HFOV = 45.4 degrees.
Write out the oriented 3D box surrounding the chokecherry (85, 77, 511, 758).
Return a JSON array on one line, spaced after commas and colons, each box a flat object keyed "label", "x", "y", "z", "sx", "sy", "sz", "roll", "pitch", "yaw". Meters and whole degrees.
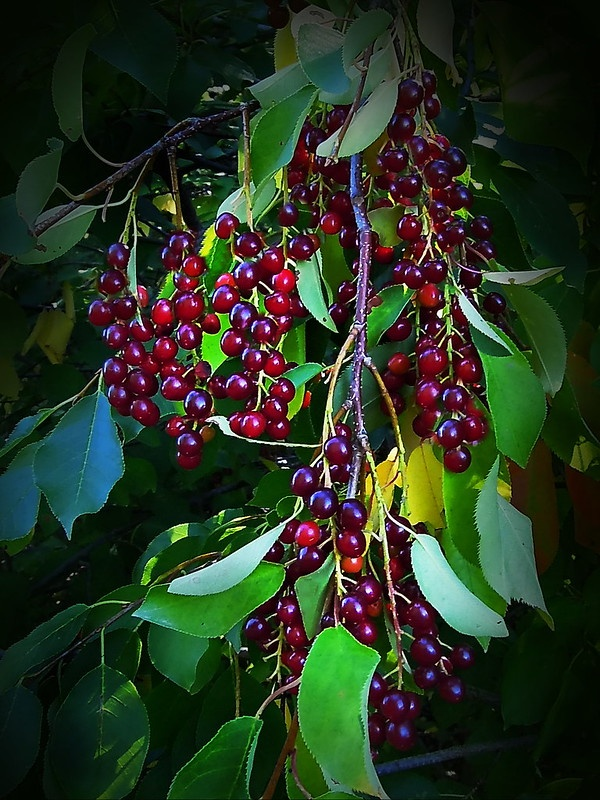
[{"label": "chokecherry", "x": -0.010, "y": -0.040, "z": 0.719, "sx": 0.429, "sy": 0.606, "sz": 0.183, "roll": -1, "pitch": -11, "yaw": -13}]
